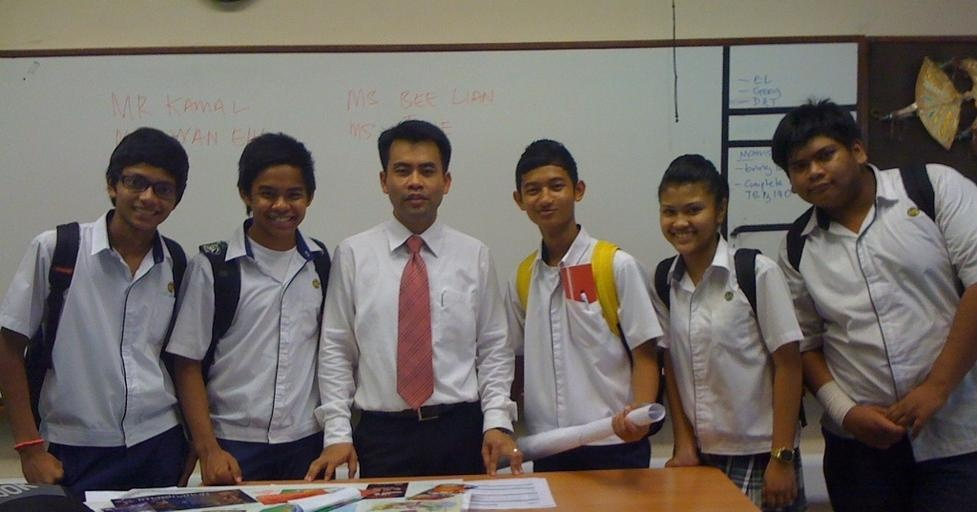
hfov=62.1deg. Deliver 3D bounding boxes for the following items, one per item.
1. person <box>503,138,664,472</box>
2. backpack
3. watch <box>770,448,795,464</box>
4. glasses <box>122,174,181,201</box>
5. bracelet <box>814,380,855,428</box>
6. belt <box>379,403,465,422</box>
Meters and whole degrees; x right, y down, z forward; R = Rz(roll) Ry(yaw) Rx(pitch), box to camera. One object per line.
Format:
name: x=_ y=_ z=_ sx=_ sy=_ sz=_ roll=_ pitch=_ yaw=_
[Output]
person: x=0.458 y=0.136 z=3.985 sx=0.731 sy=1.450 sz=0.300 roll=-4 pitch=3 yaw=0
backpack: x=-1.858 y=0.309 z=3.916 sx=0.708 sy=0.896 sz=0.145 roll=-4 pitch=3 yaw=-6
watch: x=1.384 y=0.936 z=3.826 sx=0.096 sy=0.053 sz=0.095 roll=3 pitch=-11 yaw=-20
glasses: x=-1.619 y=-0.336 z=3.871 sx=0.162 sy=0.043 sz=0.151 roll=11 pitch=-21 yaw=-20
bracelet: x=1.675 y=0.708 z=3.919 sx=0.211 sy=0.168 sz=0.093 roll=44 pitch=7 yaw=20
belt: x=-0.315 y=0.753 z=3.904 sx=0.398 sy=0.052 sz=0.046 roll=-3 pitch=2 yaw=-6
